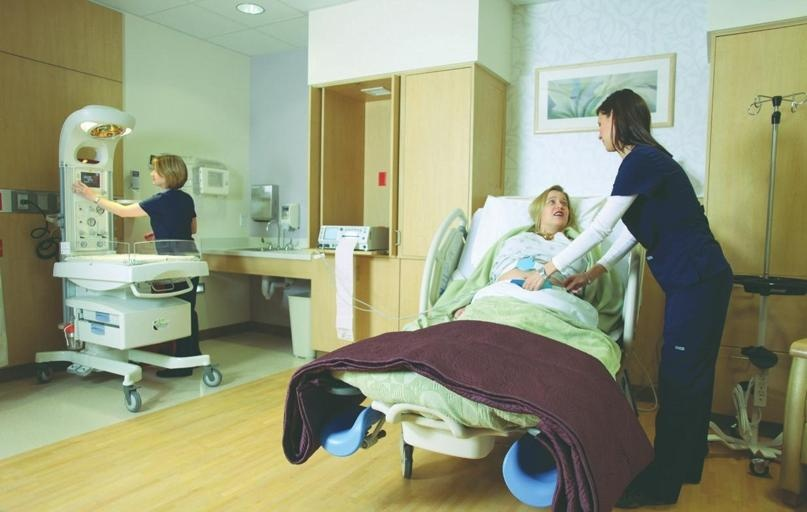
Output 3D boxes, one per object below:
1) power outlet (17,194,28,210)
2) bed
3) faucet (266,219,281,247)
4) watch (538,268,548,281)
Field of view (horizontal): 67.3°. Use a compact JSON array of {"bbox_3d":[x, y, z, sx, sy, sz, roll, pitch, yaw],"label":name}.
[{"bbox_3d":[-3.253,-0.465,5.175,0.093,0.127,0.030,-4,8,-35],"label":"power outlet"},{"bbox_3d":[0.694,0.575,4.025,1.208,1.152,2.079,3,8,28],"label":"bed"},{"bbox_3d":[-1.400,-0.248,6.506,0.132,0.287,0.233,-5,8,-26],"label":"faucet"},{"bbox_3d":[0.885,0.114,3.836,0.051,0.061,0.055,-5,-3,-7],"label":"watch"}]
